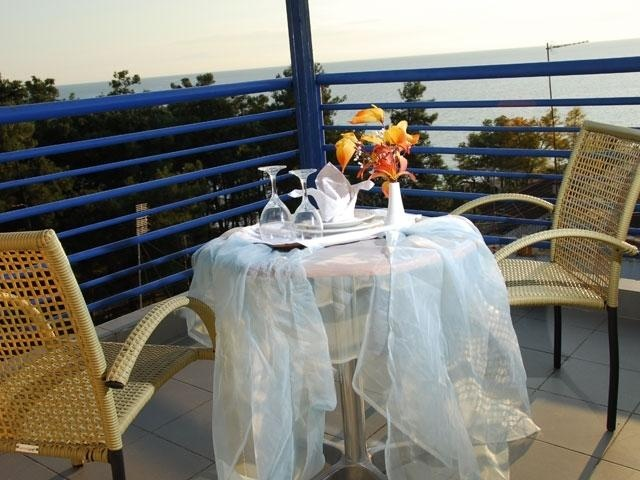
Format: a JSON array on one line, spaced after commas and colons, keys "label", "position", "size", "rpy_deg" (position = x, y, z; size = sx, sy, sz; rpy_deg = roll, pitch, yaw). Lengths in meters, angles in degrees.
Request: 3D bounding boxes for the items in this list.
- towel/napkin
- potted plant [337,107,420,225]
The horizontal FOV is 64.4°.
[{"label": "towel/napkin", "position": [0.071, -0.169, 1.984], "size": [0.282, 0.129, 0.266], "rpy_deg": [-4, 2, -2]}, {"label": "potted plant", "position": [0.201, -0.281, 1.919], "size": [0.337, 0.433, 0.332], "rpy_deg": [-6, 6, -34]}]
